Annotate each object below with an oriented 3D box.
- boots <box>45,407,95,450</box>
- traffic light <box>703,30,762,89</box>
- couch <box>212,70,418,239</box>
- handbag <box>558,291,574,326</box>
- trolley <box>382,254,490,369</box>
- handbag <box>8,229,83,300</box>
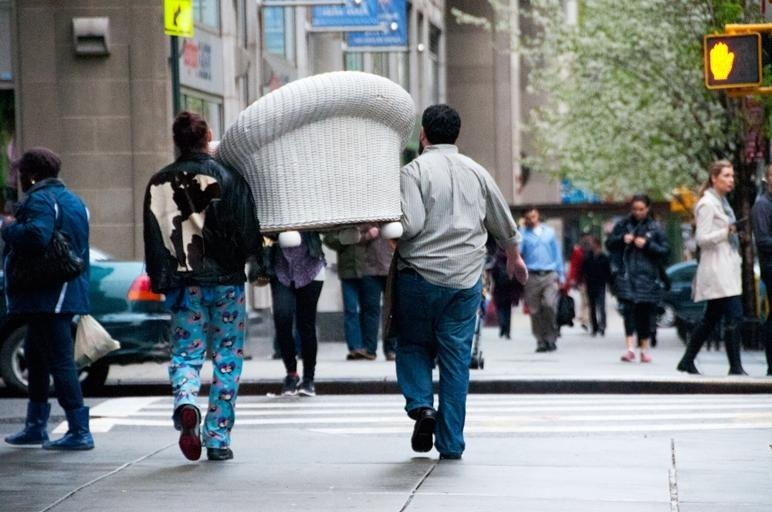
[{"bbox_3d":[-3.161,1.748,14.095,0.513,0.469,0.413,1,-3,7],"label":"boots"},{"bbox_3d":[4.737,-2.685,19.341,0.742,0.737,0.268,1,5,9],"label":"traffic light"},{"bbox_3d":[-0.617,-0.980,13.246,1.648,1.450,0.502,0,5,-4],"label":"couch"},{"bbox_3d":[2.662,0.779,20.883,0.168,0.460,0.328,0,-3,-10],"label":"handbag"},{"bbox_3d":[0.466,0.539,13.927,1.171,1.609,0.900,1,-15,-1],"label":"trolley"},{"bbox_3d":[-3.408,0.117,13.987,1.119,0.870,0.419,-1,-4,8],"label":"handbag"}]
